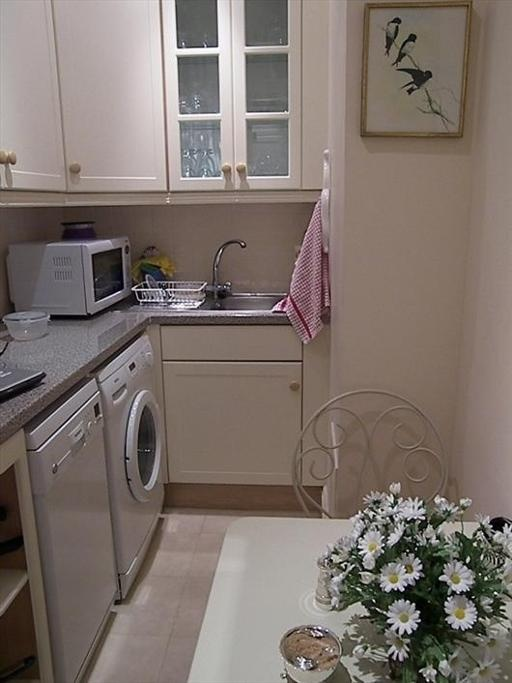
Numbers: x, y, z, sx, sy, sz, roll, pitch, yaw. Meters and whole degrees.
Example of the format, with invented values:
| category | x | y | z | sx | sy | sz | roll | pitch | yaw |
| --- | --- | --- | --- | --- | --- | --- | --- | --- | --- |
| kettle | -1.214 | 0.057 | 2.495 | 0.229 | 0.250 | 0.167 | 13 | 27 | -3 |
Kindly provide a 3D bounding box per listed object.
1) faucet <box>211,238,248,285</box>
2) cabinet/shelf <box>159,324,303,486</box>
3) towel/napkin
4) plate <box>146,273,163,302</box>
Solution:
| category | x | y | z | sx | sy | sz | roll | pitch | yaw |
| --- | --- | --- | --- | --- | --- | --- | --- | --- | --- |
| faucet | -0.146 | -0.405 | 2.780 | 0.197 | 0.244 | 0.255 | -3 | 13 | -2 |
| cabinet/shelf | -0.112 | 0.187 | 2.716 | 0.575 | 1.177 | 0.638 | 0 | 8 | 2 |
| towel/napkin | 0.197 | -0.285 | 2.281 | 0.275 | 0.601 | 0.145 | 7 | 14 | 39 |
| plate | -0.525 | -0.273 | 2.724 | 0.077 | 0.114 | 0.214 | -6 | 14 | -14 |
